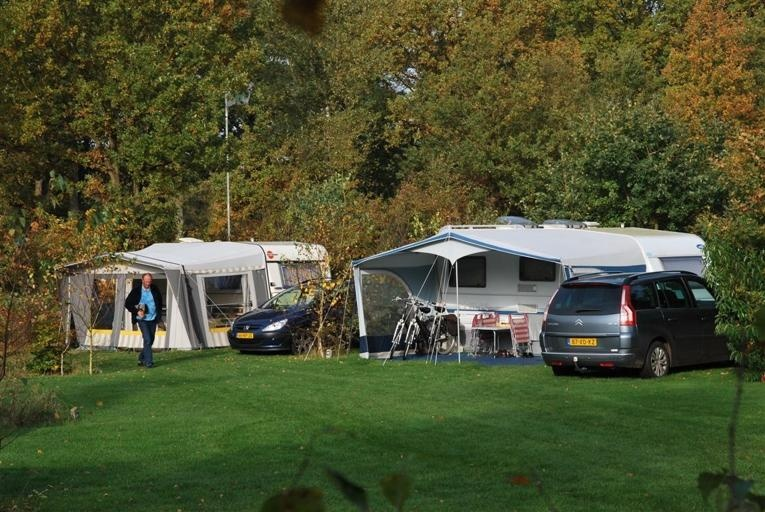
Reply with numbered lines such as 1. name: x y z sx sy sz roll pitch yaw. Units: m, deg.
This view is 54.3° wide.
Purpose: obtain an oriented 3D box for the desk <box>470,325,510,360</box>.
1. desk: 2.775 2.230 19.261 0.841 0.625 0.810 0 1 -43

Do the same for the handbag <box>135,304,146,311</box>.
1. handbag: -5.938 1.280 18.406 0.146 0.207 0.071 6 -11 -6

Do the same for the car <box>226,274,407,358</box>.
1. car: -2.372 1.666 20.890 3.308 1.764 1.468 -2 1 16

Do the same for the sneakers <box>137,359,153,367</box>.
1. sneakers: -5.912 2.648 18.709 0.509 0.228 0.176 -1 1 33

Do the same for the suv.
1. suv: 5.347 1.292 15.192 3.505 1.484 2.024 -5 3 -40
